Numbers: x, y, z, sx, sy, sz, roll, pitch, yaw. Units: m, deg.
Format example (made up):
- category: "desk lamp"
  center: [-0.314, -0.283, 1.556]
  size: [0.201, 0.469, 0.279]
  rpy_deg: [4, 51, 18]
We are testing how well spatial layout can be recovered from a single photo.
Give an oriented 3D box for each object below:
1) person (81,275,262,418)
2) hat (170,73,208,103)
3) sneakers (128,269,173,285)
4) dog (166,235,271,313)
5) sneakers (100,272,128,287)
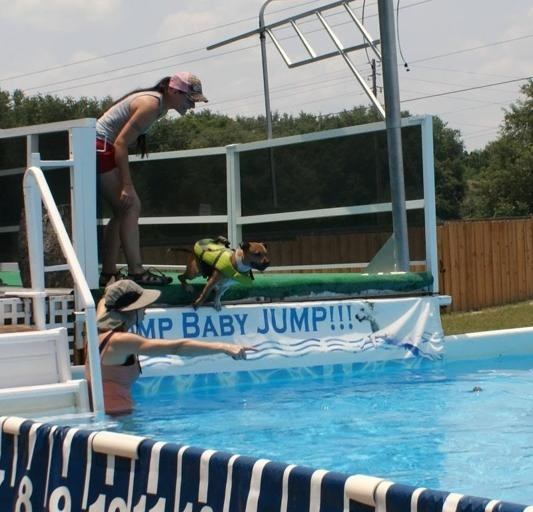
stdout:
- category: "person"
  center: [-0.873, 0.669, 5.944]
  size: [0.846, 0.984, 0.360]
  rpy_deg: [5, 5, 34]
- category: "hat"
  center: [-0.671, -1.463, 7.374]
  size: [0.339, 0.271, 0.405]
  rpy_deg: [2, 4, -5]
- category: "sneakers"
  center: [-1.015, 0.201, 7.573]
  size: [0.371, 0.172, 0.154]
  rpy_deg: [2, 0, -10]
- category: "dog"
  center: [-0.457, 0.109, 7.394]
  size: [0.844, 0.729, 0.344]
  rpy_deg: [23, -3, 34]
- category: "sneakers"
  center: [-1.269, 0.194, 7.025]
  size: [0.089, 0.100, 0.258]
  rpy_deg: [3, 7, 30]
